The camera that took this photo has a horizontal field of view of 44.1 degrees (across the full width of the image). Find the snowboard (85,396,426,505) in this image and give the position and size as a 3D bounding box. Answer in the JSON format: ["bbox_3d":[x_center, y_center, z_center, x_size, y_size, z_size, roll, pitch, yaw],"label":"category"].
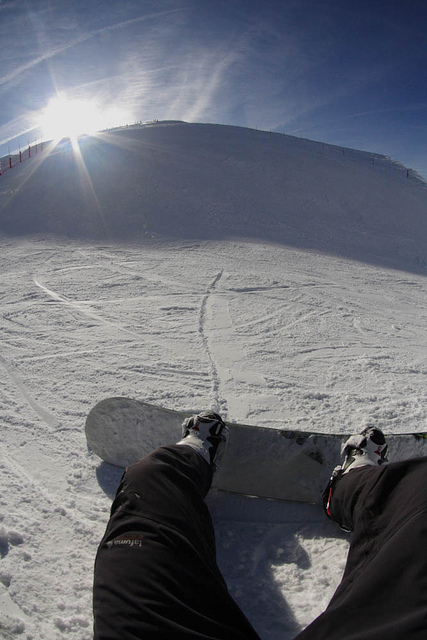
[{"bbox_3d":[0.213,0.724,2.913,2.153,0.353,0.291,7,4,8],"label":"snowboard"}]
